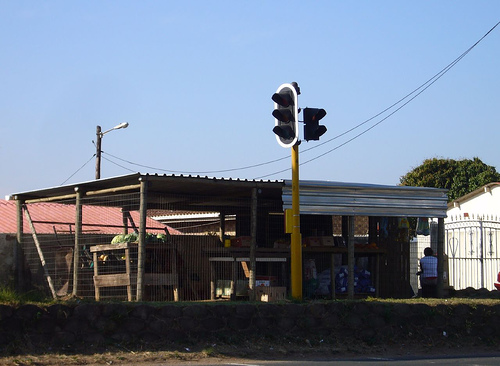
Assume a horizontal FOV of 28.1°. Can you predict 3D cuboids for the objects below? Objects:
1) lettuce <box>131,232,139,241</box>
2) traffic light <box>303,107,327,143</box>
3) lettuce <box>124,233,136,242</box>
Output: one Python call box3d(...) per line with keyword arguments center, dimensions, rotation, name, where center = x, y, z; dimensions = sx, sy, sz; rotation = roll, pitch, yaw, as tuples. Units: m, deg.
box3d(center=(-3.538, 1.595, 30.982), dimensions=(0.245, 0.135, 0.355), rotation=(-2, -6, 3), name="lettuce")
box3d(center=(1.741, -1.615, 27.007), dimensions=(0.616, 0.870, 0.319), rotation=(5, 11, 7), name="traffic light")
box3d(center=(-3.679, 1.674, 30.748), dimensions=(0.232, 0.231, 0.073), rotation=(-3, -45, 5), name="lettuce")
